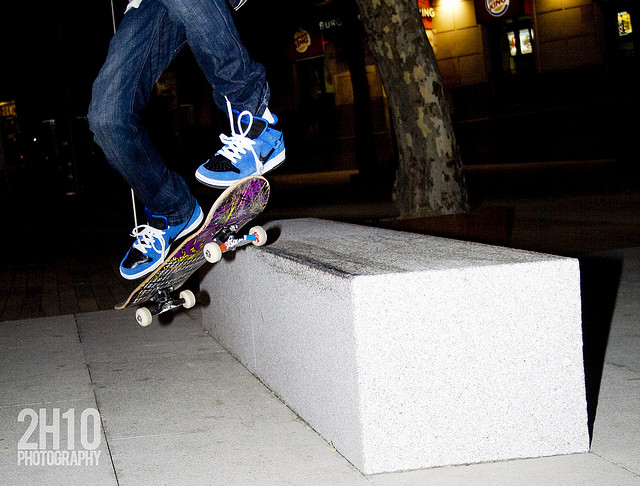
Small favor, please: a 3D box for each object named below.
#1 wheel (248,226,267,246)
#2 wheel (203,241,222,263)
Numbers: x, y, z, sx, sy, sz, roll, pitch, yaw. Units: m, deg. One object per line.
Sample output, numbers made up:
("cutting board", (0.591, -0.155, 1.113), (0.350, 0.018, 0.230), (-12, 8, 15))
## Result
("wheel", (-0.350, -0.036, 2.858), (0.090, 0.107, 0.090), (-4, 9, 1))
("wheel", (-0.590, 0.046, 2.789), (0.093, 0.101, 0.040), (16, 1, 21))
